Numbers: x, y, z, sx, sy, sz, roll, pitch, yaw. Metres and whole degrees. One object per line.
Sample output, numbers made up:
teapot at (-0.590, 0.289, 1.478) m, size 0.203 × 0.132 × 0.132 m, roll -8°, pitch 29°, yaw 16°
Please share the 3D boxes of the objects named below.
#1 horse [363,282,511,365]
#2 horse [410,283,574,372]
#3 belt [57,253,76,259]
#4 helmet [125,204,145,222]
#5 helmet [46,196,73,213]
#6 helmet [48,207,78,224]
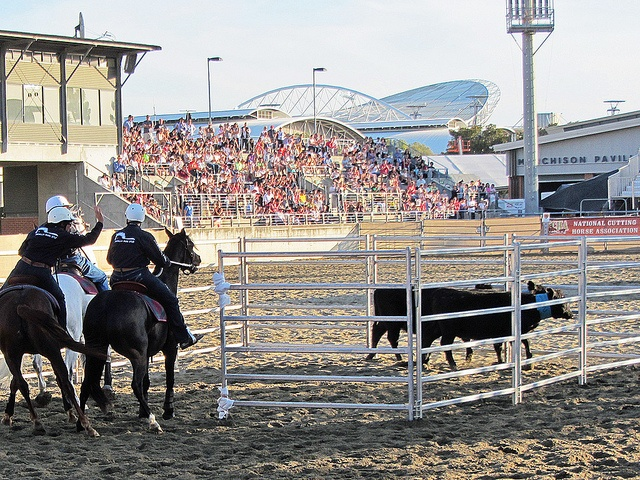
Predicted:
horse at (2.147, 1.756, 27.027) m, size 0.785 × 1.524 × 3.183 m, roll 4°, pitch 0°, yaw -37°
horse at (3.398, 1.730, 26.739) m, size 2.712 × 1.811 × 1.093 m, roll 1°, pitch 3°, yaw 3°
belt at (-5.007, 0.311, 26.652) m, size 0.169 × 0.051 × 0.132 m, roll -18°, pitch 3°, yaw 5°
helmet at (-3.616, -0.531, 26.205) m, size 0.344 × 0.337 × 0.387 m, roll 0°, pitch 12°, yaw -13°
helmet at (-5.029, -0.654, 26.228) m, size 0.563 × 0.297 × 0.370 m, roll -7°, pitch 12°, yaw -20°
helmet at (-4.965, -0.468, 25.775) m, size 0.439 × 0.257 × 0.287 m, roll 7°, pitch -7°, yaw -11°
